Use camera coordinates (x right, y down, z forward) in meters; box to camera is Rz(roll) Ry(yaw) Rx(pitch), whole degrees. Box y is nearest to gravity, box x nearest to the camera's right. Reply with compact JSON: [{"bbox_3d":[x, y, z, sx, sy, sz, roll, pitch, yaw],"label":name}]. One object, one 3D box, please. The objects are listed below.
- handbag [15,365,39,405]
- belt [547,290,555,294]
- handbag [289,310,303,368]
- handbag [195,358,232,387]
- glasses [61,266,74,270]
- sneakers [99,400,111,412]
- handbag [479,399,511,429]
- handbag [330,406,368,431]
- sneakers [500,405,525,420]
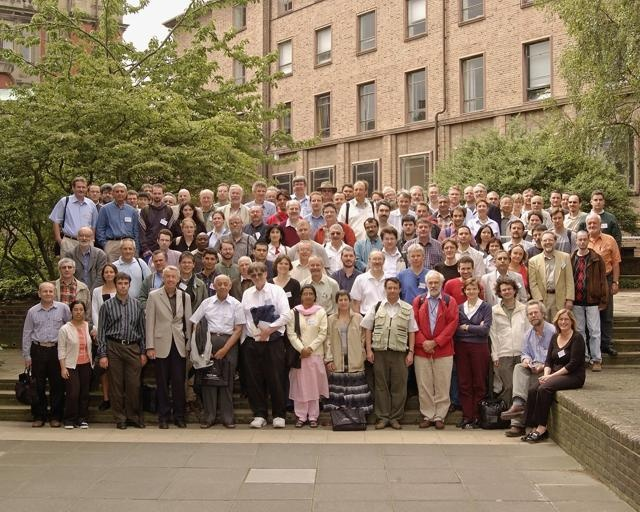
[{"bbox_3d":[-4.847,2.171,11.725,0.251,0.641,0.503,-4,6,-40],"label":"handbag"},{"bbox_3d":[4.108,0.635,12.742,0.118,0.083,0.026,1,5,16],"label":"belt"},{"bbox_3d":[-0.420,1.379,11.878,0.190,0.965,0.243,0,5,-5],"label":"handbag"},{"bbox_3d":[-1.741,1.887,11.676,0.449,0.421,0.165,0,-12,0],"label":"handbag"},{"bbox_3d":[-4.297,0.204,12.187,0.151,0.055,0.028,-1,5,-15],"label":"glasses"},{"bbox_3d":[-3.680,2.543,12.205,0.194,0.174,0.107,1,5,11],"label":"sneakers"},{"bbox_3d":[2.767,2.558,11.507,0.479,0.474,0.343,-1,-3,4],"label":"handbag"},{"bbox_3d":[0.464,2.656,11.662,0.546,0.301,0.323,0,5,0],"label":"handbag"},{"bbox_3d":[3.015,2.446,11.192,0.381,0.173,0.167,-3,-23,-5],"label":"sneakers"}]
